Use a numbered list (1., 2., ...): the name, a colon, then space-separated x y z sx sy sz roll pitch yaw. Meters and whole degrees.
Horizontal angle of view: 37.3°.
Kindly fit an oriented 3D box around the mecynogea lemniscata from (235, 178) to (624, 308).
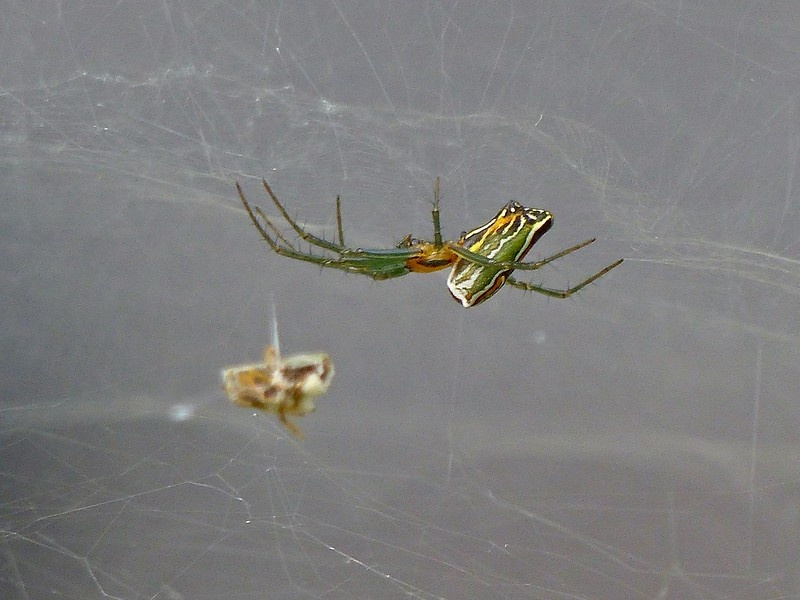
1. mecynogea lemniscata: 0.116 -0.309 7.668 2.198 0.664 1.784 2 15 4
